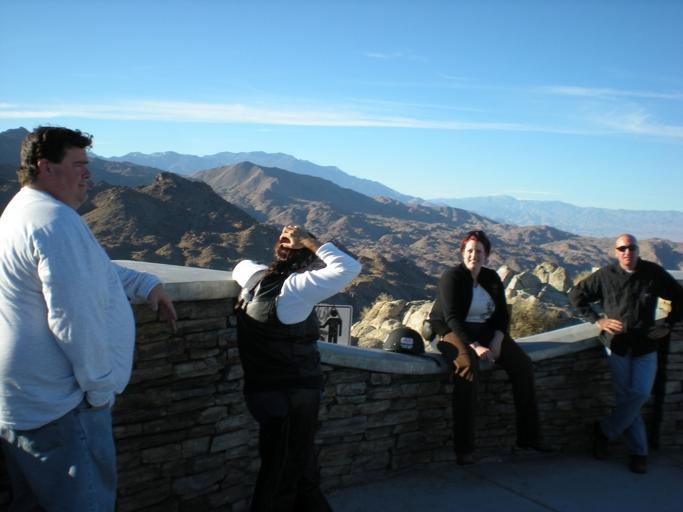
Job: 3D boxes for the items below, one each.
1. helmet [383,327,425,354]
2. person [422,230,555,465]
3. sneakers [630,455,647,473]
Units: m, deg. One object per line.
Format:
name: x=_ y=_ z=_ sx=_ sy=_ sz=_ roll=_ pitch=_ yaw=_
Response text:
helmet: x=0.657 y=0.903 z=5.490 sx=0.389 sy=0.255 sz=0.477 roll=3 pitch=4 yaw=4
person: x=1.399 y=0.878 z=5.139 sx=0.945 sy=2.226 sz=0.585 roll=2 pitch=4 yaw=-7
sneakers: x=2.952 y=2.103 z=5.240 sx=0.154 sy=0.176 sz=0.101 roll=4 pitch=4 yaw=21
